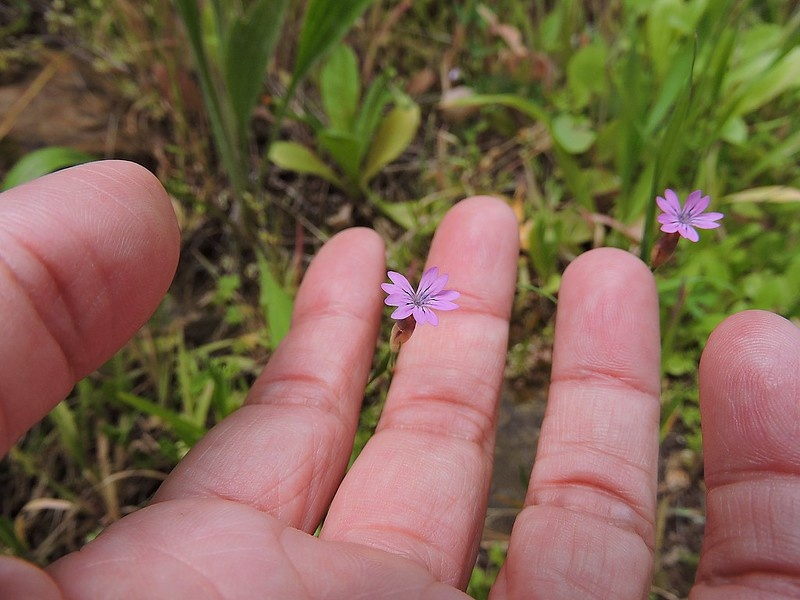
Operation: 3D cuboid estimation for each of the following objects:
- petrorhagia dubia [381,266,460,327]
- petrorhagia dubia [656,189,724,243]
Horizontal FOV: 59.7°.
[{"bbox_3d":[0.075,-0.024,2.604,0.273,0.164,0.183,-1,20,-6],"label":"petrorhagia dubia"},{"bbox_3d":[1.136,-0.343,2.772,0.237,0.199,0.238,5,20,9],"label":"petrorhagia dubia"}]
